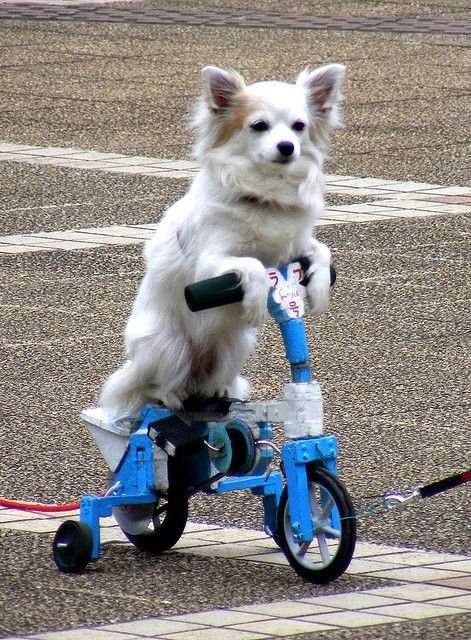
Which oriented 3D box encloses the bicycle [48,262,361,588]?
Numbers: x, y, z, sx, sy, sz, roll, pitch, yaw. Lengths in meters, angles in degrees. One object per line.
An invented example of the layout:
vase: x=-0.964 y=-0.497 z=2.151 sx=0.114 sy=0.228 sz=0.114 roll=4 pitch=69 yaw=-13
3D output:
bicycle: x=-0.094 y=0.443 z=6.888 sx=1.254 sy=1.197 sz=1.806 roll=2 pitch=-3 yaw=-31

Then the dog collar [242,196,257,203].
dog collar: x=0.061 y=-0.470 z=6.523 sx=0.071 sy=0.017 sz=0.019 roll=15 pitch=41 yaw=7
